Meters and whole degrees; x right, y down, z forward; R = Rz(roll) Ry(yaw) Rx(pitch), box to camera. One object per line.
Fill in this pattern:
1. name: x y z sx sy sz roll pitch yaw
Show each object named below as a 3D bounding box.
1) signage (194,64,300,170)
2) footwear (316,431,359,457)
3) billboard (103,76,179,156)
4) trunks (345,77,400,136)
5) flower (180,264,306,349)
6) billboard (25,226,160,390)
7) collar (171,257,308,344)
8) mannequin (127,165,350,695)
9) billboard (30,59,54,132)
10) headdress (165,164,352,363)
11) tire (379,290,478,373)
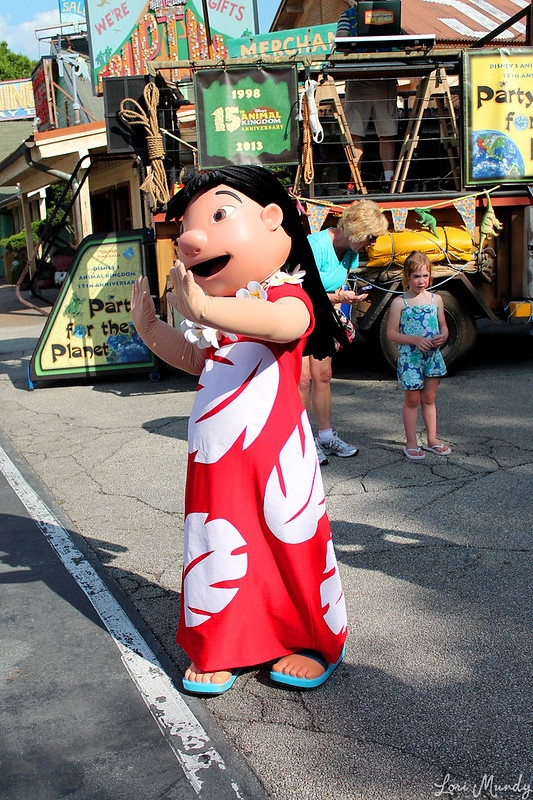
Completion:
1. signage: -0.190 -2.728 6.612 1.058 0.888 0.148 -13 27 -21
2. footwear: 0.499 0.305 5.002 0.378 0.180 0.126 10 27 24
3. billboard: -1.432 -3.079 7.381 0.838 0.734 0.302 4 15 11
4. trunks: 1.271 -3.483 7.927 0.659 0.873 0.493 11 39 21
5. flower: -0.078 -0.231 1.789 0.287 0.119 0.210 -13 9 -34
6. billboard: -2.058 -0.854 8.262 1.813 1.849 1.592 2 -21 -32
7. collar: -0.069 -0.225 1.768 0.308 0.107 0.229 11 8 -33
8. mannequin: -0.038 0.133 2.085 0.631 1.679 0.754 -7 11 -11
9. billboard: -7.529 -10.208 23.161 0.328 2.018 2.167 -11 17 -27
10. headdress: -0.158 -0.454 2.383 0.668 0.769 0.527 -8 9 -31
11. tire: 1.298 -0.580 5.546 0.868 0.828 0.306 -4 8 -2
